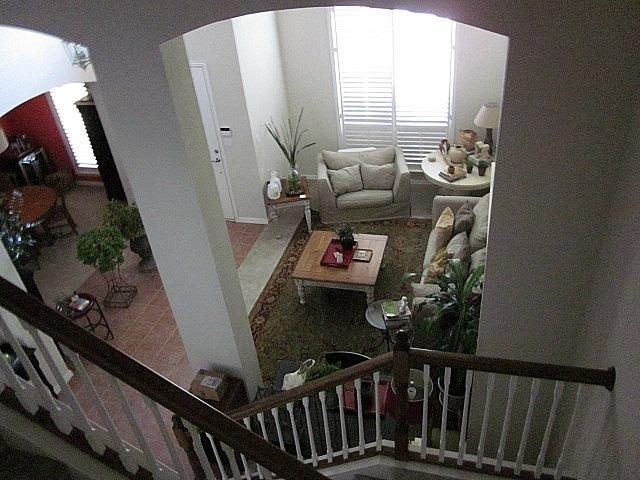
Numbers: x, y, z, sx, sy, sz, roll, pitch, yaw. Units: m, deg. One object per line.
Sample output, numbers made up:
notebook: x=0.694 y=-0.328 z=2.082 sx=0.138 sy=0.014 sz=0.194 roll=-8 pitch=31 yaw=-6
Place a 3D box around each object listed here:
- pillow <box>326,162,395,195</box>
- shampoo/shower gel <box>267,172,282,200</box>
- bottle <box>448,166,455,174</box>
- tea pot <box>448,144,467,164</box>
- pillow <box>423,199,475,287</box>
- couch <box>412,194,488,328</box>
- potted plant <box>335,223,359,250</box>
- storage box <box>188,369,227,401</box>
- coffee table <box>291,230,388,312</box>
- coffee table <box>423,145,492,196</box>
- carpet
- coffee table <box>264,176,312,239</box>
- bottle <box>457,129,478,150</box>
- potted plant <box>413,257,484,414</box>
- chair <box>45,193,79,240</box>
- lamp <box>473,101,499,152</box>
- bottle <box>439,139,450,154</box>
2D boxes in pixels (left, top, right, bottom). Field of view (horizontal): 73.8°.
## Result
pillow: x=0.690 y=-1.014 z=7.046 sx=1.116 sy=0.442 sz=0.322 roll=-5 pitch=23 yaw=-2
shampoo/shower gel: x=-0.747 y=-0.919 z=6.947 sx=0.250 sy=0.407 sz=0.411 roll=-6 pitch=24 yaw=-4
bottle: x=1.960 y=-1.049 z=6.426 sx=0.113 sy=0.112 sz=0.116 roll=15 pitch=41 yaw=27
tea pot: x=2.087 y=-1.338 z=6.669 sx=0.256 sy=0.270 sz=0.287 roll=-15 pitch=42 yaw=-14
pillow: x=1.520 y=0.032 z=4.974 sx=0.472 sy=0.452 sz=1.145 roll=2 pitch=48 yaw=31
couch: x=1.430 y=0.239 z=4.663 sx=0.636 sy=0.732 sz=1.698 roll=5 pitch=50 yaw=23
potted plant: x=0.361 y=-0.079 z=5.845 sx=0.288 sy=0.333 sz=0.322 roll=-11 pitch=40 yaw=6
storage box: x=-1.098 y=1.434 z=4.207 sx=0.329 sy=0.166 sz=0.273 roll=10 pitch=54 yaw=22
coffee table: x=0.294 y=0.427 z=5.844 sx=1.088 sy=0.700 sz=1.008 roll=4 pitch=25 yaw=17
coffee table: x=2.025 y=-1.084 z=6.544 sx=0.907 sy=0.670 sz=0.950 roll=-7 pitch=49 yaw=4
carpet: x=0.079 y=1.111 z=5.669 sx=1.601 sy=0.052 sz=3.501 roll=3 pitch=39 yaw=9
coffee table: x=-0.513 y=-0.702 z=7.039 sx=0.798 sy=0.796 sz=1.043 roll=-8 pitch=43 yaw=-5
bottle: x=2.333 y=-1.622 z=6.821 sx=0.295 sy=0.314 sz=0.320 roll=-8 pitch=36 yaw=12
potted plant: x=1.170 y=0.796 z=4.089 sx=0.650 sy=1.587 sz=1.300 roll=5 pitch=25 yaw=20
chair: x=-4.410 y=-0.367 z=7.275 sx=0.404 sy=0.723 sz=0.403 roll=-9 pitch=60 yaw=-11
lamp: x=2.570 y=-1.727 z=6.622 sx=0.334 sy=0.802 sz=0.821 roll=5 pitch=25 yaw=20
bottle: x=2.023 y=-1.527 z=6.932 sx=0.187 sy=0.275 sz=0.254 roll=1 pitch=58 yaw=13
